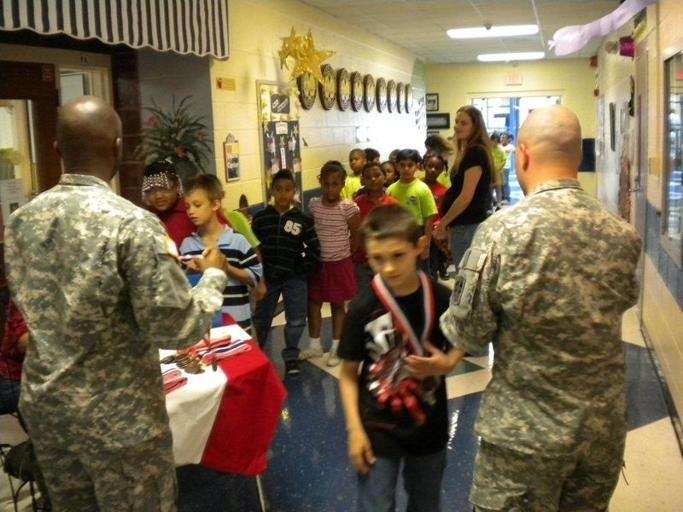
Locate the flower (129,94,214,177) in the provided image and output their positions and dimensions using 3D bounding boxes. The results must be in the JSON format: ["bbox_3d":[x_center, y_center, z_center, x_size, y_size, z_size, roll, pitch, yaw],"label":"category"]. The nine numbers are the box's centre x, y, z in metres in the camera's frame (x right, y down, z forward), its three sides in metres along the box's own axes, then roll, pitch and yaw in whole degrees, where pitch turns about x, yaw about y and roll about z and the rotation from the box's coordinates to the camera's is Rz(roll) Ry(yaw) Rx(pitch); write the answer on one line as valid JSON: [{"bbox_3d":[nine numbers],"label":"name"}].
[{"bbox_3d":[-1.511,-1.018,5.003,0.720,0.900,0.789,-1,3,-30],"label":"flower"}]

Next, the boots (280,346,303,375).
[{"bbox_3d":[-0.397,0.842,4.381,0.093,0.122,0.287,-2,17,-7],"label":"boots"}]

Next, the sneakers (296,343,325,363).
[{"bbox_3d":[-0.257,0.823,4.646,0.241,0.239,0.095,4,5,1],"label":"sneakers"}]
